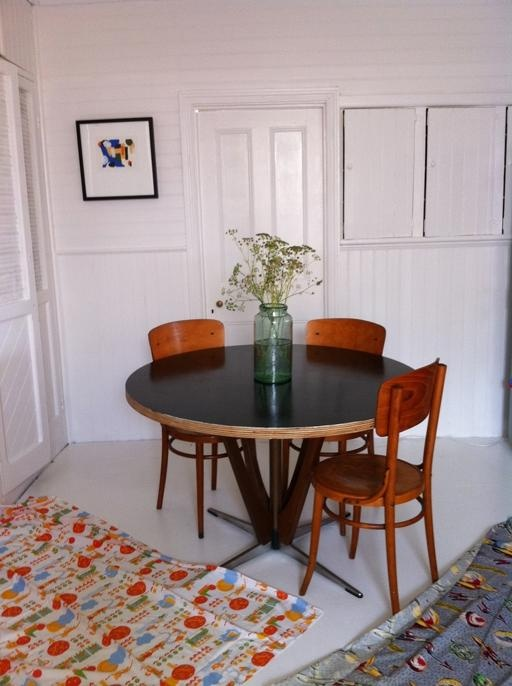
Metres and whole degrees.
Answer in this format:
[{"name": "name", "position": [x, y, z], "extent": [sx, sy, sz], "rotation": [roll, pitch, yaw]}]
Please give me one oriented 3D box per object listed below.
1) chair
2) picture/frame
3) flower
[{"name": "chair", "position": [0.371, 0.412, 2.218], "extent": [1.278, 0.801, 1.038], "rotation": [13, 18, 40]}, {"name": "picture/frame", "position": [-0.800, -1.079, 3.202], "extent": [0.515, 0.485, 0.023], "rotation": [2, 27, 7]}, {"name": "flower", "position": [0.030, -0.248, 2.706], "extent": [0.539, 0.827, 0.588], "rotation": [-12, 22, -29]}]
